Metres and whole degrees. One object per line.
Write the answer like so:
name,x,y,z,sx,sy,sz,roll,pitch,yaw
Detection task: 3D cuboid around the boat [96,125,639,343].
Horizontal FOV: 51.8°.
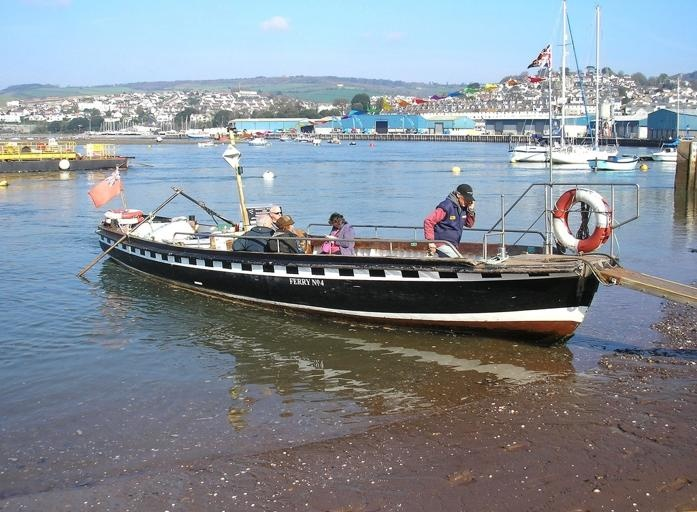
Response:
boat,0.360,0.080,18.177,21.256,4.315,4.117,4,16,34

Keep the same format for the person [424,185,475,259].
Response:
person,1.778,-0.778,14.294,1.286,1.283,1.023,-4,17,-25

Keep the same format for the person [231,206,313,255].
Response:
person,-1.786,-0.591,16.689,1.220,0.694,2.180,-15,18,-43

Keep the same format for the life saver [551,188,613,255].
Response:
life saver,4.271,-0.664,13.813,0.579,1.271,1.294,-10,13,-24
